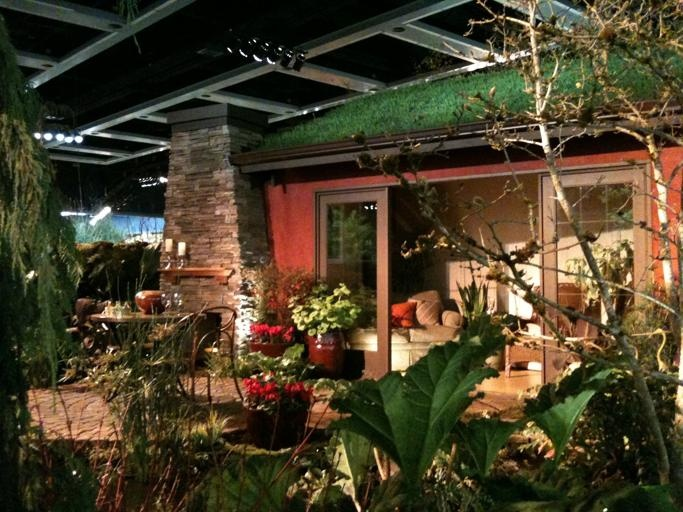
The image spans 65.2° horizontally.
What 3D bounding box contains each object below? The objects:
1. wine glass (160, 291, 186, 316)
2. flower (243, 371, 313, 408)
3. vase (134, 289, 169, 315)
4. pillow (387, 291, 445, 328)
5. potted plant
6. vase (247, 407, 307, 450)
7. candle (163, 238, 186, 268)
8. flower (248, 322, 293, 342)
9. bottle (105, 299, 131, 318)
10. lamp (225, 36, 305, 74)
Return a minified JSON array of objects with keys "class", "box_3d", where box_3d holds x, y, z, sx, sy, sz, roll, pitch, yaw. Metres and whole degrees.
[{"class":"wine glass","box_3d":[-2.156,0.629,6.891,0.350,0.397,0.352,-1,-1,5]},{"class":"flower","box_3d":[-0.504,1.009,4.009,0.444,0.223,0.610,-2,-6,-19]},{"class":"vase","box_3d":[-2.115,0.518,5.978,0.275,0.205,0.275,-1,-4,-3]},{"class":"pillow","box_3d":[1.123,0.840,7.779,0.545,0.169,0.555,-16,32,4]},{"class":"potted plant","box_3d":[-0.189,0.909,6.766,1.041,1.340,0.979,-1,-7,-2]},{"class":"vase","box_3d":[-0.460,1.266,3.905,0.431,0.332,0.347,-7,-7,34]},{"class":"candle","box_3d":[-2.339,-0.040,7.573,0.398,0.387,0.130,-3,-7,38]},{"class":"flower","box_3d":[-0.844,0.946,6.476,0.310,0.137,0.317,3,-4,-30]},{"class":"bottle","box_3d":[-2.366,0.562,5.680,0.202,0.125,0.203,1,-6,0]},{"class":"lamp","box_3d":[-0.866,-2.210,5.964,0.561,0.163,0.405,12,12,32]}]
